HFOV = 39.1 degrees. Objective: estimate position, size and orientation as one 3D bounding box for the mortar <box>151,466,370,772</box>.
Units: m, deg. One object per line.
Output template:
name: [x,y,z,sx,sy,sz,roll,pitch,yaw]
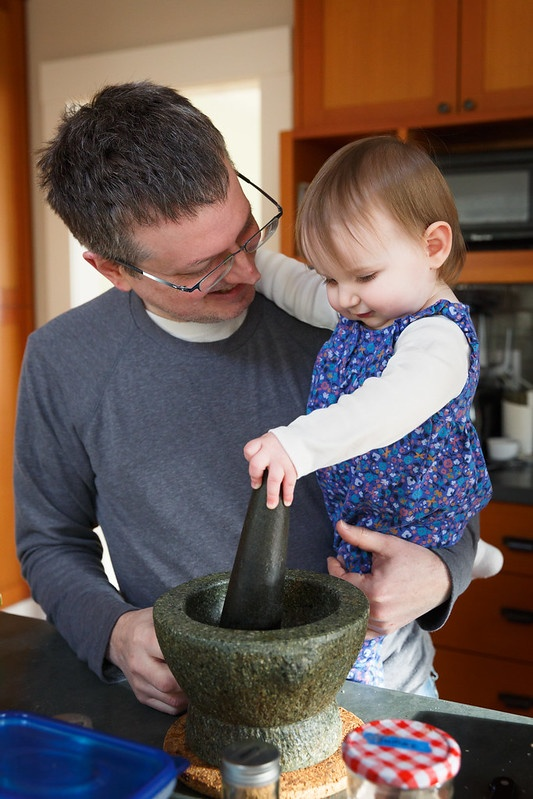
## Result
mortar: [-0.003,0.217,0.715,0.196,0.218,0.205,6,8,43]
